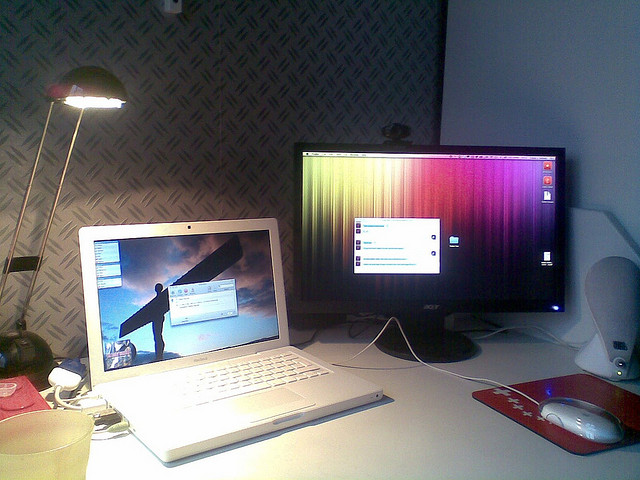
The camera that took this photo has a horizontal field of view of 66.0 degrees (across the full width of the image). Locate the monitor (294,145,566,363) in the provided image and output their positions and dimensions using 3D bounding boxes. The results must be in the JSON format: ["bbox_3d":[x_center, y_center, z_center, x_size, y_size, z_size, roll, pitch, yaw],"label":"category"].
[{"bbox_3d":[0.301,0.014,1.360,0.743,0.546,0.171,-2,12,-7],"label":"monitor"}]

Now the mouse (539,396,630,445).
[{"bbox_3d":[0.523,0.341,0.982,0.075,0.027,0.105,3,14,-36],"label":"mouse"}]

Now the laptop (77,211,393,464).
[{"bbox_3d":[-0.186,0.147,1.077,0.469,0.389,0.537,1,3,43],"label":"laptop"}]

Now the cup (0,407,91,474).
[{"bbox_3d":[-0.461,0.311,0.837,0.107,0.093,0.122,1,0,-6],"label":"cup"}]
